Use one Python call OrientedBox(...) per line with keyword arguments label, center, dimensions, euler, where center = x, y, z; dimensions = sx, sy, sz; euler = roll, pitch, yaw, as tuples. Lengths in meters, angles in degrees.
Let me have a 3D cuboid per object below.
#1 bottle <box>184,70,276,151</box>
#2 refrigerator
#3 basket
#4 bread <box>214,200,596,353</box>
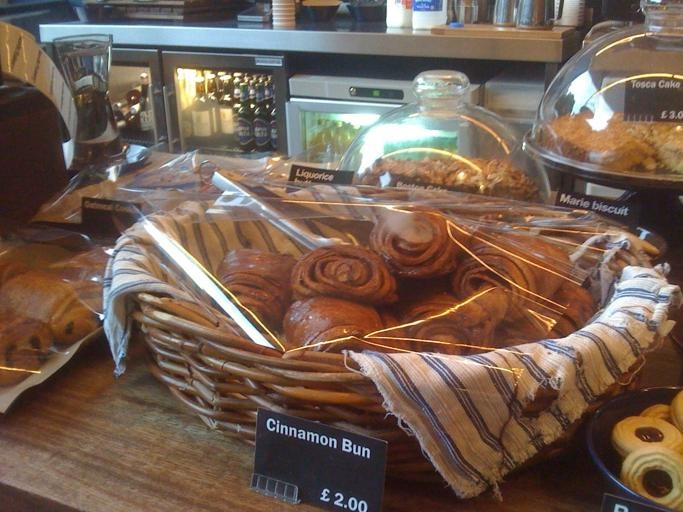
OrientedBox(label="bottle", center=(-0.583, -0.748, 2.595), dimensions=(0.484, 0.409, 0.352), euler=(-2, 17, -6))
OrientedBox(label="refrigerator", center=(0.093, -0.462, 2.233), dimensions=(0.678, 0.424, 0.356), euler=(2, -15, -7))
OrientedBox(label="basket", center=(0.036, 0.042, 0.474), dimensions=(0.389, 0.125, 0.329), euler=(9, 15, 23))
OrientedBox(label="bread", center=(0.056, 0.003, 0.444), dimensions=(0.263, 0.066, 0.167), euler=(8, 46, 12))
